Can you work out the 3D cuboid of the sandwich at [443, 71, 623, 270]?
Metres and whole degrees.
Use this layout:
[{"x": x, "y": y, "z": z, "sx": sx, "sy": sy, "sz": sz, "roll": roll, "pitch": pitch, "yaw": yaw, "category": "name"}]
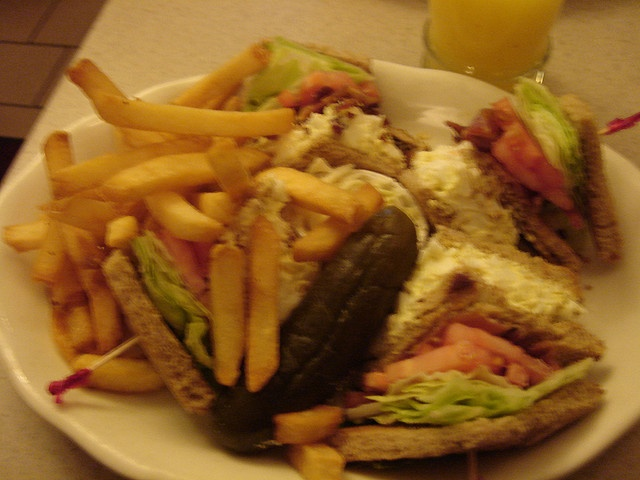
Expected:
[{"x": 0.410, "y": -0.119, "z": 1.161, "sx": 0.371, "sy": 0.135, "sz": 0.338, "roll": -25, "pitch": 87, "yaw": -10, "category": "sandwich"}]
